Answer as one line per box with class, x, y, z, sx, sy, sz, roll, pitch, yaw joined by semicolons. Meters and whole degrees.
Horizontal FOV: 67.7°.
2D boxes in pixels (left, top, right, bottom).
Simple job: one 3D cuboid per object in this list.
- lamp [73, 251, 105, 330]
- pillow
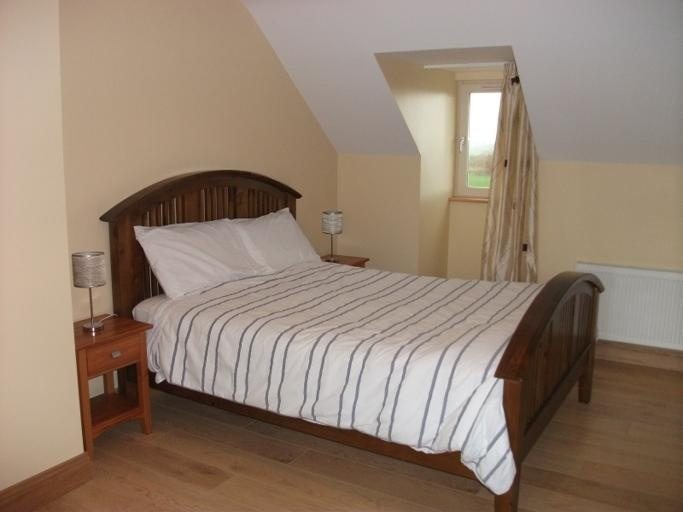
lamp;-1.507;0.199;3.052;0.173;0.477;0.406;-7;16;-27
pillow;-0.891;-0.026;3.735;0.153;0.578;1.296;-31;-11;37
